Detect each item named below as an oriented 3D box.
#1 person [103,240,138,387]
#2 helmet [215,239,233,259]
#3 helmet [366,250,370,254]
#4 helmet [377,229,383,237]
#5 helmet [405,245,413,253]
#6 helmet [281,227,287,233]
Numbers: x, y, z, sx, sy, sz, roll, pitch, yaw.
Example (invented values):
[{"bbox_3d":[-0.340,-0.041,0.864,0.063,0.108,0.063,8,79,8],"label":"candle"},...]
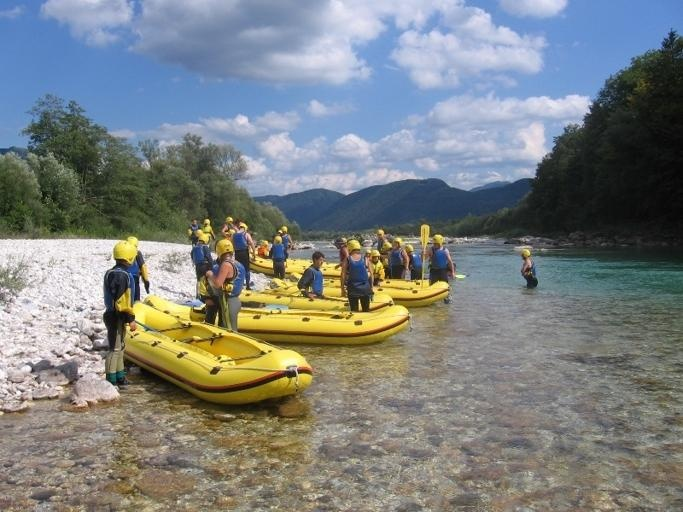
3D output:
[{"bbox_3d":[-3.768,1.054,8.545,0.635,2.576,0.773,-4,12,-20],"label":"person"},{"bbox_3d":[-2.337,-0.150,9.946,0.343,0.317,0.393,-5,12,-18],"label":"helmet"},{"bbox_3d":[0.829,-0.111,15.809,0.188,0.094,0.230,0,-7,2],"label":"helmet"},{"bbox_3d":[1.516,-0.863,19.675,0.313,0.249,0.365,3,13,6],"label":"helmet"},{"bbox_3d":[2.530,-0.259,18.958,0.255,0.232,0.275,3,42,4],"label":"helmet"},{"bbox_3d":[-2.451,-1.092,21.409,0.254,0.163,0.343,3,-5,-10],"label":"helmet"}]
